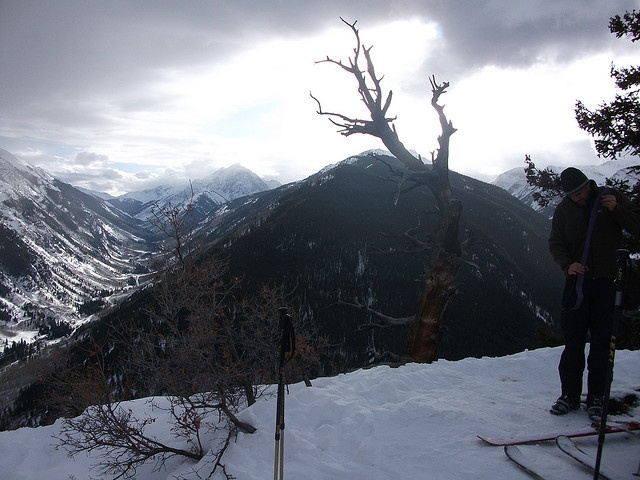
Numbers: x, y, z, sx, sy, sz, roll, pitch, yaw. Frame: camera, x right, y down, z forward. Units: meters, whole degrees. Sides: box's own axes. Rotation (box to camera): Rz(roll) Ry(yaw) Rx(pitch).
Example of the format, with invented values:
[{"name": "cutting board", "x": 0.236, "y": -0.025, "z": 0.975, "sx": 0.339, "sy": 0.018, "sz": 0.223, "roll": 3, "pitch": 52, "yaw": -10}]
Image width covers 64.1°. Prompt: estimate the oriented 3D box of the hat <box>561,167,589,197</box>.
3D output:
[{"name": "hat", "x": 6.069, "y": -1.419, "z": 12.205, "sx": 0.618, "sy": 0.680, "sz": 0.502, "roll": -6, "pitch": 9, "yaw": 18}]
